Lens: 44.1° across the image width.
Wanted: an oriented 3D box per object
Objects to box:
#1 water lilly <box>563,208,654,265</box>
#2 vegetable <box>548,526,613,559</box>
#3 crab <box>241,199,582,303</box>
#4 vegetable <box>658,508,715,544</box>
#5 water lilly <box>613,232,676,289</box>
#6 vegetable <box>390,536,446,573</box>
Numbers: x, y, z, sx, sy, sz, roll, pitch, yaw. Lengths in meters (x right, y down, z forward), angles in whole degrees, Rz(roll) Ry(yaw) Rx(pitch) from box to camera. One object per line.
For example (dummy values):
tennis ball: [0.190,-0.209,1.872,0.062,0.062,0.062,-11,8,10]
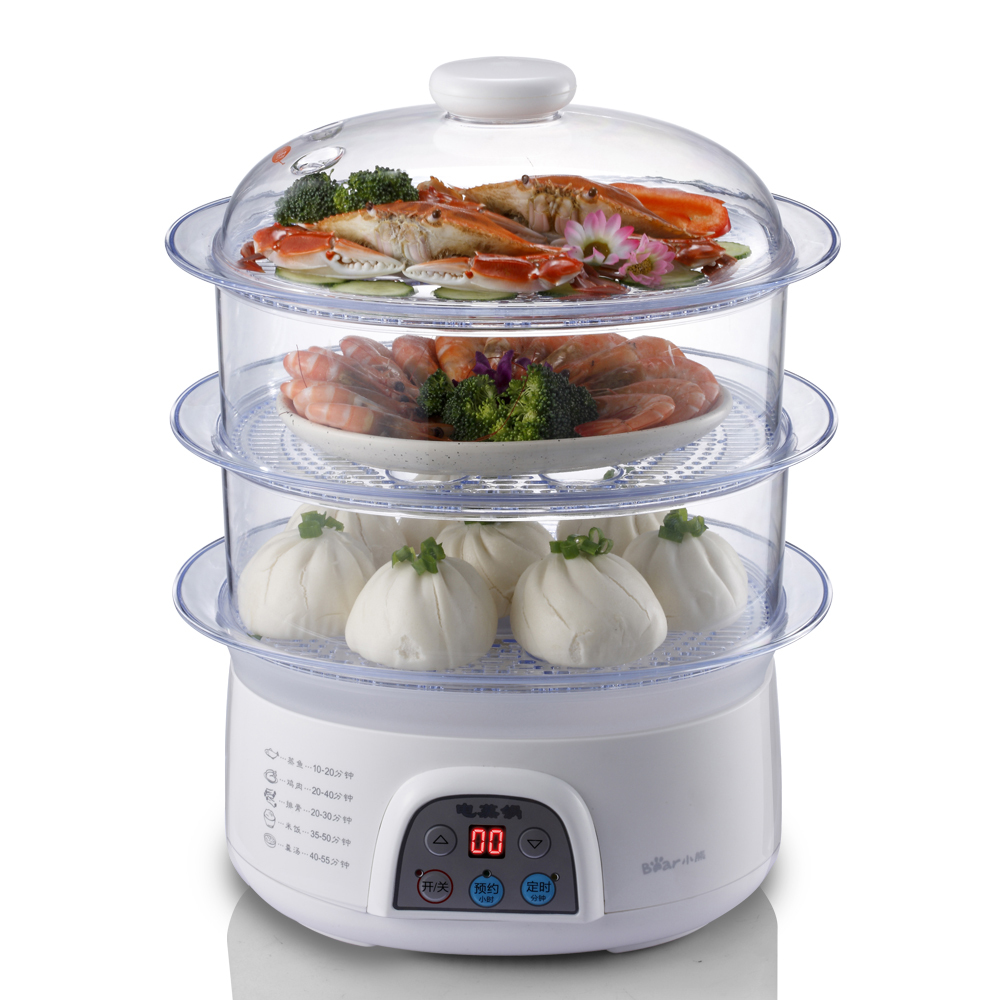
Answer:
water lilly: [0.188,-0.468,2.221,0.142,0.042,0.105,1,49,-2]
vegetable: [0.166,0.074,2.453,0.097,0.026,0.077,1,18,4]
crab: [-0.164,-0.465,2.262,0.642,0.154,0.177,5,22,20]
vegetable: [0.386,0.048,2.533,0.100,0.023,0.070,-6,51,-7]
water lilly: [0.261,-0.432,2.208,0.118,0.089,0.048,6,15,-12]
vegetable: [-0.155,0.106,2.386,0.094,0.028,0.076,-5,39,-20]
